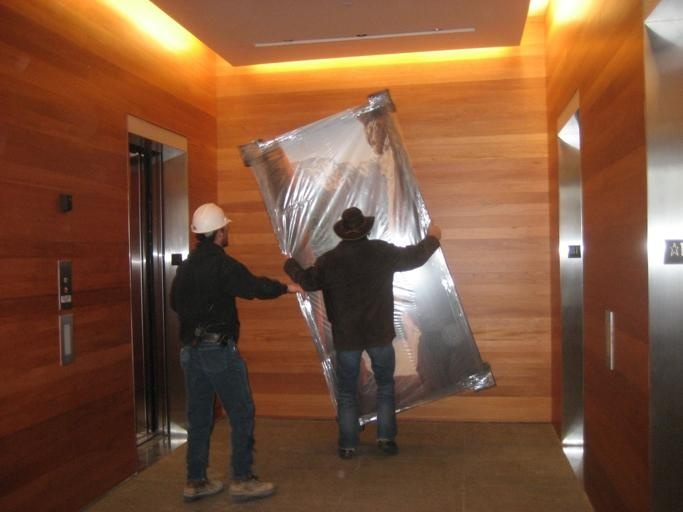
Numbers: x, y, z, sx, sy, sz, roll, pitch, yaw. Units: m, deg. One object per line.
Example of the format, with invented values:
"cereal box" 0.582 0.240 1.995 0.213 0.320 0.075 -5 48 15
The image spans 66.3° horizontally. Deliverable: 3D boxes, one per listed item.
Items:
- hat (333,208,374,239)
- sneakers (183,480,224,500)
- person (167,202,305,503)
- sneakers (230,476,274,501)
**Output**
"hat" 0.094 -0.225 3.619 0.285 0.229 0.206 -2 6 -11
"sneakers" -0.917 1.542 3.514 0.259 0.111 0.104 -3 8 -33
"person" -0.774 0.620 3.479 0.704 1.928 0.356 -2 6 -8
"sneakers" -0.586 1.514 3.458 0.290 0.138 0.125 0 -1 -10
